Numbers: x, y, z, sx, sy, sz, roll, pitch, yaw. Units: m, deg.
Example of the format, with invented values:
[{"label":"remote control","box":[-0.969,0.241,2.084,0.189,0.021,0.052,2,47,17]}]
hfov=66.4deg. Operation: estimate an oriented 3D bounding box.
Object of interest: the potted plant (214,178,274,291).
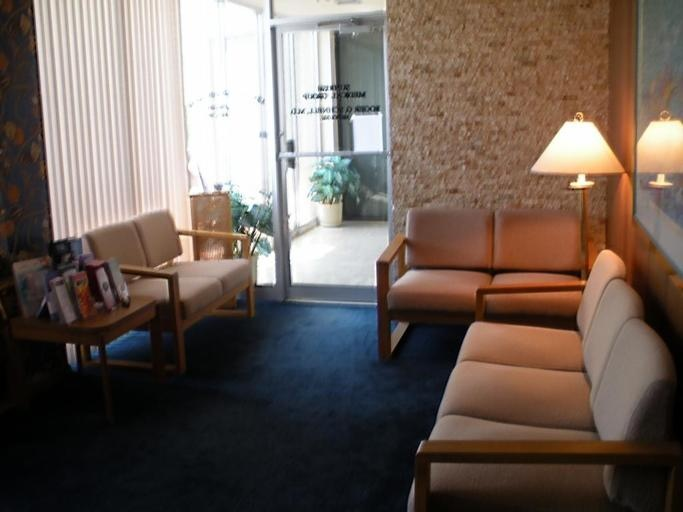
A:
[{"label":"potted plant","box":[-0.881,-0.308,5.227,0.701,1.344,0.662,0,9,4]}]

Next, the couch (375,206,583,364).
[{"label":"couch","box":[1.141,0.209,4.063,1.512,1.065,0.937,2,12,22]}]

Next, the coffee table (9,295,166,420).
[{"label":"coffee table","box":[-1.696,0.620,3.483,0.814,0.616,0.611,2,16,15]}]

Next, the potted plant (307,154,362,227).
[{"label":"potted plant","box":[-0.089,-0.615,5.167,0.467,0.619,0.538,0,8,-7]}]

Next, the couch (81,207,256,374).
[{"label":"couch","box":[-1.375,0.225,4.335,0.832,1.007,1.481,2,12,7]}]
